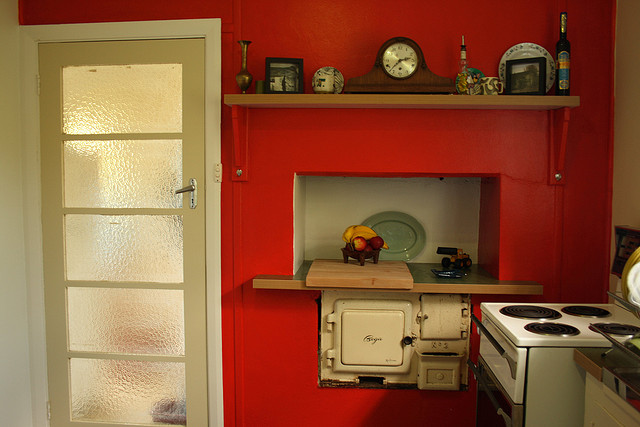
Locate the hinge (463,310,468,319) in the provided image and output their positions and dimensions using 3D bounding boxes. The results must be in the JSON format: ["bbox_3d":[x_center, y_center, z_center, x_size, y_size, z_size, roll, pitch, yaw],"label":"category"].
[{"bbox_3d":[0.862,0.597,3.327,0.034,0.065,0.034,0,1,10],"label":"hinge"}]

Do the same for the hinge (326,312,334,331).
[{"bbox_3d":[0.061,0.649,3.375,0.048,0.111,0.019,0,1,7],"label":"hinge"}]

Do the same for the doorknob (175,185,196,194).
[{"bbox_3d":[-0.812,-0.145,3.386,0.113,0.030,0.042,-20,-11,5],"label":"doorknob"}]

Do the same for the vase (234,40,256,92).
[{"bbox_3d":[-0.439,-0.874,3.306,0.108,0.326,0.149,0,1,-8],"label":"vase"}]

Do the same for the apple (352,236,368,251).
[{"bbox_3d":[0.241,0.181,3.386,0.075,0.079,0.091,-12,-5,32],"label":"apple"}]

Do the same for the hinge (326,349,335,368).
[{"bbox_3d":[0.063,0.876,3.393,0.051,0.119,0.029,0,1,4],"label":"hinge"}]

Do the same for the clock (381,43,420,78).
[{"bbox_3d":[0.461,-0.884,3.222,0.217,0.226,0.051,-10,29,9],"label":"clock"}]

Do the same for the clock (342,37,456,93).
[{"bbox_3d":[0.460,-0.852,3.216,0.621,0.313,0.027,0,1,2],"label":"clock"}]

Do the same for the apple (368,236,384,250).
[{"bbox_3d":[0.344,0.174,3.396,0.077,0.077,0.072,1,4,-31],"label":"apple"}]

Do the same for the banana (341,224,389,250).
[{"bbox_3d":[0.272,0.135,3.471,0.233,0.147,0.066,19,17,18],"label":"banana"}]

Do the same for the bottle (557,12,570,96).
[{"bbox_3d":[1.402,-0.905,3.196,0.106,0.468,0.052,-1,1,-36],"label":"bottle"}]

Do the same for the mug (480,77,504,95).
[{"bbox_3d":[0.990,-0.733,3.226,0.117,0.087,0.090,3,4,12],"label":"mug"}]

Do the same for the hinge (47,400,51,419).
[{"bbox_3d":[-1.703,1.228,3.526,0.018,0.115,0.006,0,1,-23],"label":"hinge"}]

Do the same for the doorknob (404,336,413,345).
[{"bbox_3d":[0.521,0.748,3.313,0.037,0.038,0.036,1,13,3],"label":"doorknob"}]

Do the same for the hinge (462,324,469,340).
[{"bbox_3d":[0.867,0.701,3.336,0.040,0.088,0.009,0,1,-18],"label":"hinge"}]
